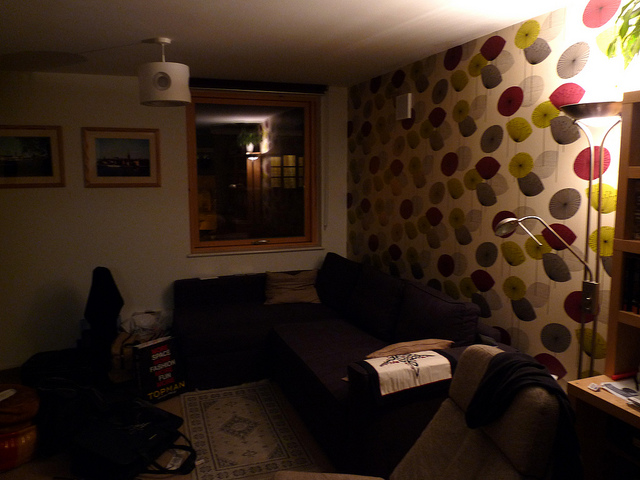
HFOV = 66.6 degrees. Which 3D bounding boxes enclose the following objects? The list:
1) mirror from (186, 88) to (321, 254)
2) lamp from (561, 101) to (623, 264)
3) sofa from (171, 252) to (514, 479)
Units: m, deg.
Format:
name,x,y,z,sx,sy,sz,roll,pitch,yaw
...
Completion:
name,x,y,z,sx,sy,sz,roll,pitch,yaw
mirror,-0.842,-0.855,5.649,1.793,2.159,0.100,-2,4,-24
lamp,1.729,-0.333,3.103,0.314,1.027,0.518,3,9,38
sofa,0.024,0.943,4.076,1.571,0.889,2.347,0,12,-19
